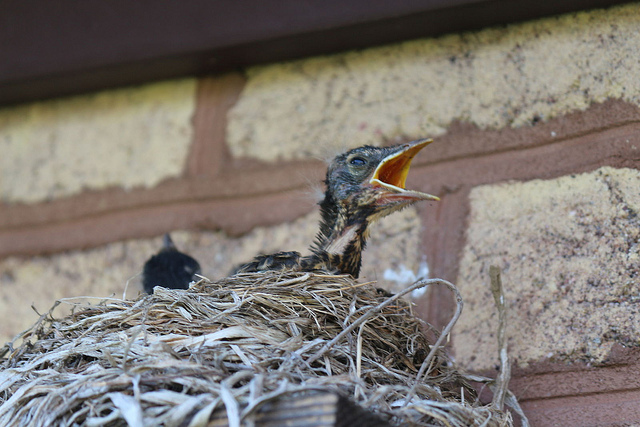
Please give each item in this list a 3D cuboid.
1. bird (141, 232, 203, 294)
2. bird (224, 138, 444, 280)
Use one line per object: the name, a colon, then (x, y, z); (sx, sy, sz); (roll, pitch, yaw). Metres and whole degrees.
bird: (-0.561, 0.187, 4.358); (0.175, 0.200, 0.093); (-2, -5, 10)
bird: (0.083, 0.052, 4.309); (0.781, 0.299, 0.567); (-13, 68, 32)
